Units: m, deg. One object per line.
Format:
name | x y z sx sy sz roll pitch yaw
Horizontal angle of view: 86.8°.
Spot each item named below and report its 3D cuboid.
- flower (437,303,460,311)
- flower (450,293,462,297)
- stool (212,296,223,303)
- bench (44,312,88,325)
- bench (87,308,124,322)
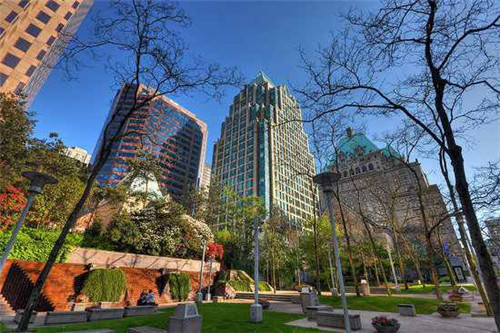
flower | 15.969 11.306 21.238 1.297 0.524 0.759 -15 -32 24
flower | 21.756 13.427 27.701 1.122 0.340 1.053 2 -23 -4
stool | -3.590 14.921 29.810 1.084 0.654 1.091 -6 -14 26
bench | -13.949 11.317 19.902 2.593 0.834 0.679 19 -34 -32
bench | -11.679 11.755 21.098 2.537 0.884 0.765 15 -32 -26
